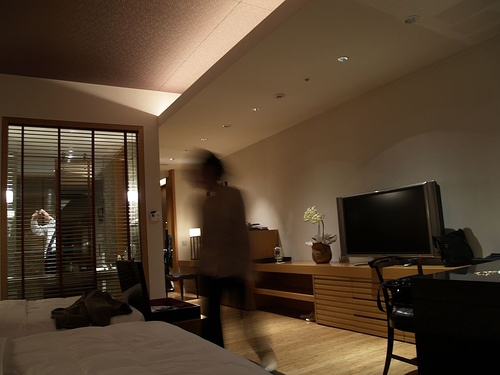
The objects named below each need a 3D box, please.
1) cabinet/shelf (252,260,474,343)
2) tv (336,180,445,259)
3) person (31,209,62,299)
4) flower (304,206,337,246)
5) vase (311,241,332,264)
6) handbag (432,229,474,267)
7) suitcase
[{"bbox_3d":[1.081,1.469,4.650,0.606,0.668,2.913,7,-14,-29],"label":"cabinet/shelf"},{"bbox_3d":[1.645,0.452,4.105,0.217,0.805,1.424,7,-13,-27],"label":"tv"},{"bbox_3d":[-2.662,0.847,4.427,0.392,1.088,0.231,4,-10,-35],"label":"person"},{"bbox_3d":[1.044,0.582,5.040,0.550,0.572,0.515,-2,2,-45],"label":"flower"},{"bbox_3d":[0.986,0.890,4.682,0.318,0.294,0.232,-3,1,-30],"label":"vase"},{"bbox_3d":[2.001,0.581,3.285,0.331,0.311,0.177,-13,-21,-13],"label":"handbag"},{"bbox_3d":[-0.864,0.983,3.111,0.644,0.718,0.826,1,-8,-27],"label":"suitcase"}]
